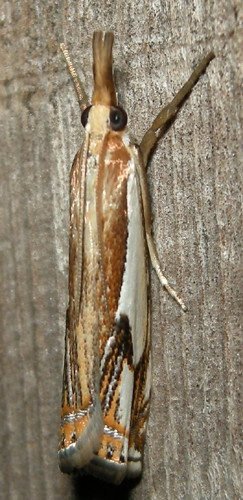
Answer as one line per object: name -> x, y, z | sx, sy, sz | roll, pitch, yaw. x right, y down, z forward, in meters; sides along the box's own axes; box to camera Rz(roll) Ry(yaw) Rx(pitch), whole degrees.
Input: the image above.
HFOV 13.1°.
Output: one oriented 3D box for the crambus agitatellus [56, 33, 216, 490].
crambus agitatellus -> -0.007, 0.033, 1.254 | 0.148, 0.590, 0.077 | 2, 4, 24
